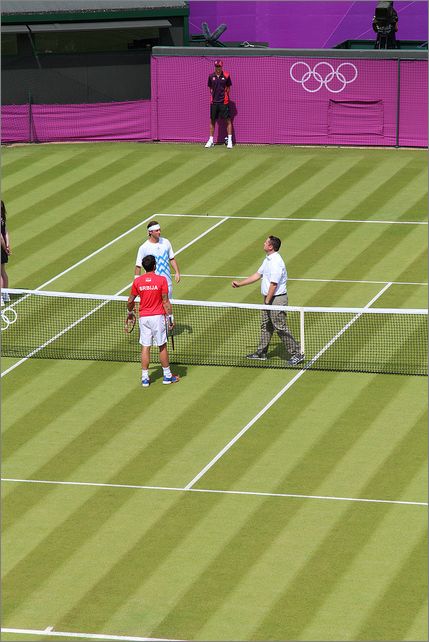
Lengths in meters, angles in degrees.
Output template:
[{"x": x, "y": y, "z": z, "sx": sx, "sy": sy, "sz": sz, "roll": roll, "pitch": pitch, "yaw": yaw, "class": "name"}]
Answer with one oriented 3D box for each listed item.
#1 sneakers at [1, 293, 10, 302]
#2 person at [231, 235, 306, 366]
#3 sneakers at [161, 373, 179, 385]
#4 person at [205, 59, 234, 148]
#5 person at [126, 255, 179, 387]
[{"x": -3.915, "y": -0.455, "z": 14.573, "sx": 0.164, "sy": 0.143, "sz": 0.138, "roll": 4, "pitch": 29, "yaw": 10, "class": "sneakers"}, {"x": 0.856, "y": -0.300, "z": 11.591, "sx": 0.925, "sy": 1.942, "sz": 0.637, "roll": -1, "pitch": 13, "yaw": 1, "class": "person"}, {"x": -0.641, "y": 0.833, "z": 11.193, "sx": 0.102, "sy": 0.102, "sz": 0.250, "roll": 10, "pitch": 14, "yaw": 36, "class": "sneakers"}, {"x": 0.116, "y": -6.494, "z": 23.155, "sx": 0.775, "sy": 2.601, "sz": 1.222, "roll": -1, "pitch": 13, "yaw": 1, "class": "person"}, {"x": -0.872, "y": 0.003, "z": 10.847, "sx": 0.624, "sy": 1.904, "sz": 0.678, "roll": -2, "pitch": 13, "yaw": 1, "class": "person"}]
